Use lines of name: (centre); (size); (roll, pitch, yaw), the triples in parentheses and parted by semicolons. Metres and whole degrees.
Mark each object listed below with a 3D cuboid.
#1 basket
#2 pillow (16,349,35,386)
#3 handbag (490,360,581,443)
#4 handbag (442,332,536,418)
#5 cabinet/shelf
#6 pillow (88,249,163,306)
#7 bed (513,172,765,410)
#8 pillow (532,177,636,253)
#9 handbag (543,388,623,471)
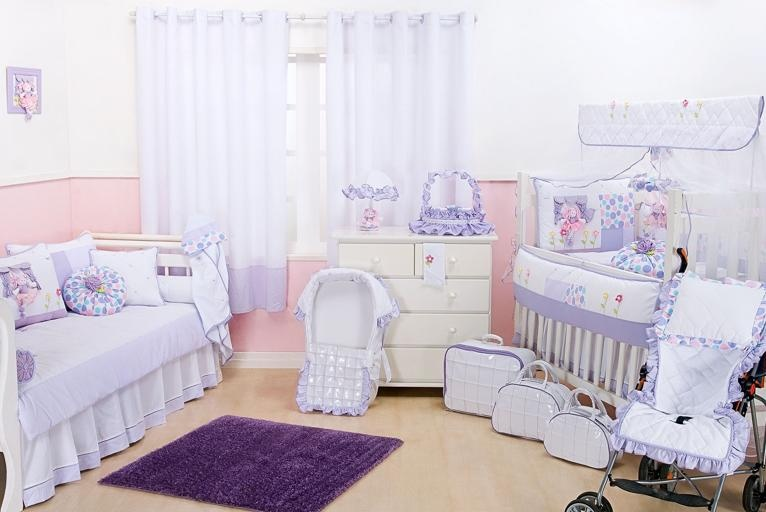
basket: (0.492, -0.283, 3.930); (0.623, 0.492, 0.498); (-1, 0, -2)
pillow: (-1.764, 0.546, 2.678); (0.108, 0.052, 0.136); (-4, 50, -38)
handbag: (0.912, 0.890, 3.277); (0.438, 0.477, 0.261); (3, 2, 31)
handbag: (0.709, 0.805, 3.642); (0.541, 0.532, 0.347); (4, 6, 31)
cabinet/shelf: (0.189, 0.356, 3.687); (0.963, 1.008, 0.467); (0, 2, 0)
pillow: (-1.808, 0.197, 3.923); (0.426, 0.414, 0.138); (-1, -15, -30)
bed: (1.651, 0.272, 3.596); (0.883, 1.354, 1.399); (-2, 5, -15)
pillow: (1.398, -0.275, 3.773); (0.523, 0.433, 0.123); (0, 3, -1)
handbag: (1.100, 0.976, 3.009); (0.390, 0.418, 0.155); (4, 5, 39)
